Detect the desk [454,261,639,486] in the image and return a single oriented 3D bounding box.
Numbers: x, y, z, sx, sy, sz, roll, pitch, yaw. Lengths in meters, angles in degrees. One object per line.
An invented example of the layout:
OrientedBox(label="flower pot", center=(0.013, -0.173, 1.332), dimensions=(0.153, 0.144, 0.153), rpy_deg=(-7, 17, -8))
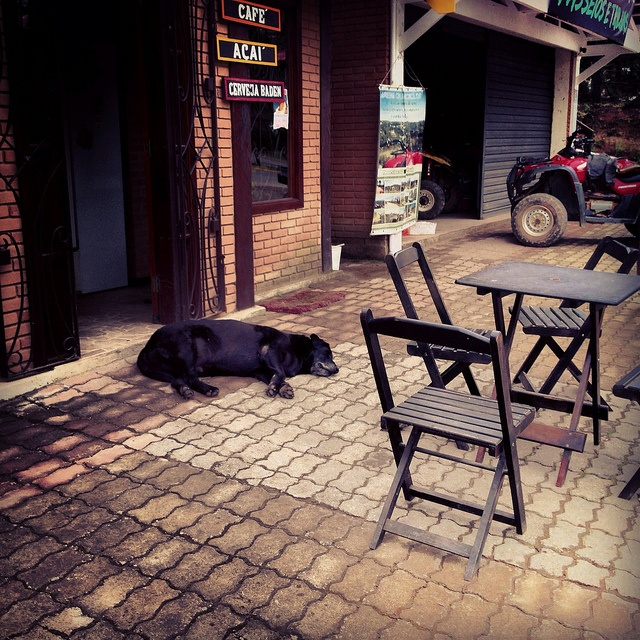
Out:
OrientedBox(label="desk", center=(1.468, 0.363, 3.460), dimensions=(1.099, 1.329, 0.943), rpy_deg=(12, 30, 34))

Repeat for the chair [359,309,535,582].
OrientedBox(label="chair", center=(0.546, 0.473, 2.426), dimensions=(0.646, 1.139, 0.621), rpy_deg=(9, 20, 36))

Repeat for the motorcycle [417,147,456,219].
OrientedBox(label="motorcycle", center=(2.814, -3.108, 12.768), dimensions=(0.661, 1.489, 1.352), rpy_deg=(6, 19, 30))
